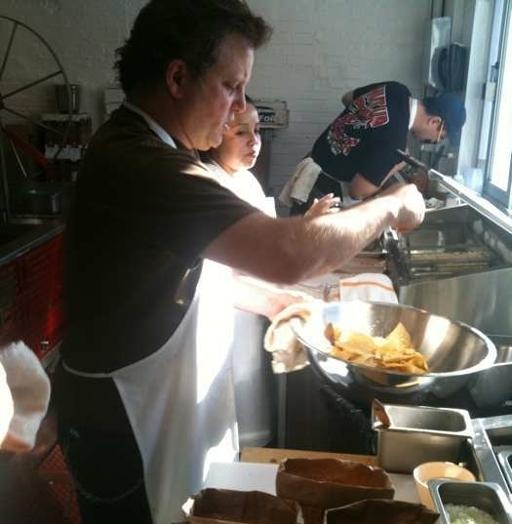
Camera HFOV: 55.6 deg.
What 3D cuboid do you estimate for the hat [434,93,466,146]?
[{"bbox_3d":[1.100,-0.836,2.773,0.167,0.240,0.173,8,15,21],"label":"hat"}]
